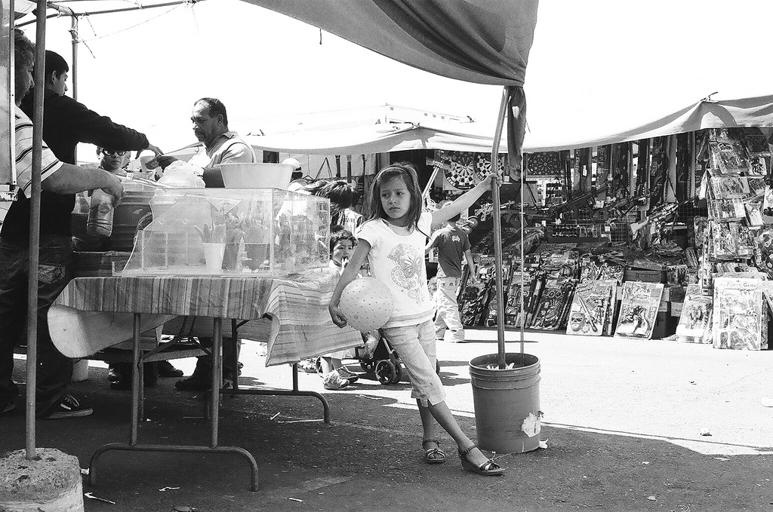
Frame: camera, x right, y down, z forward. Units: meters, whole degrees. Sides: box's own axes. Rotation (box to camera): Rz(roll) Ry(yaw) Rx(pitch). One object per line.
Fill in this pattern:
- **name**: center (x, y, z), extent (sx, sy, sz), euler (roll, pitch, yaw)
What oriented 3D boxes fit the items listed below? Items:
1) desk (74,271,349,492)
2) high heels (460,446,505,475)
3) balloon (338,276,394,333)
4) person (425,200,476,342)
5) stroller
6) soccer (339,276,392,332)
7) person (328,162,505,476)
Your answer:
- **desk**: center (-1.465, 0.984, 6.551), extent (2.075, 1.381, 2.922), euler (0, -5, 2)
- **high heels**: center (0.705, 1.585, 5.562), extent (0.401, 0.167, 0.158), euler (-4, -1, 39)
- **balloon**: center (-0.158, 0.359, 5.420), extent (0.403, 0.447, 0.399), euler (0, 2, 8)
- **person**: center (0.985, 0.324, 12.409), extent (1.165, 2.338, 0.844), euler (1, -1, 31)
- **stroller**: center (-0.272, 1.131, 8.857), extent (1.416, 2.191, 0.851), euler (0, -2, 14)
- **soccer**: center (-0.170, 0.360, 5.419), extent (0.399, 0.442, 0.395), euler (0, 1, 8)
- **person**: center (0.314, 0.430, 5.653), extent (1.289, 2.471, 0.903), euler (0, 0, 37)
